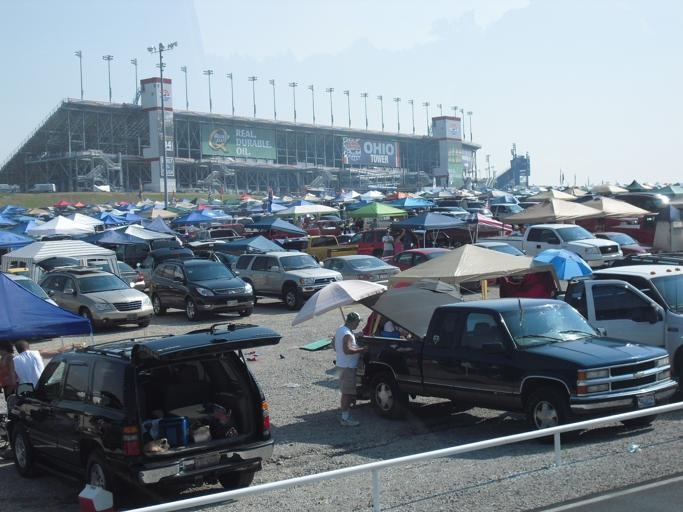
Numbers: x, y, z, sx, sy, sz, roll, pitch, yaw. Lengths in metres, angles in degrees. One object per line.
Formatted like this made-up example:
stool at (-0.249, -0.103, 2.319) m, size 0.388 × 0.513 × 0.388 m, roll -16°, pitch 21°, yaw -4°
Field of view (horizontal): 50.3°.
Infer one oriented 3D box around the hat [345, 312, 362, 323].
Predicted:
hat at (0.178, 1.034, 12.311) m, size 0.306 × 0.208 × 0.241 m, roll 7°, pitch 0°, yaw -40°

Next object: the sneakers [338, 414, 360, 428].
sneakers at (0.119, 2.746, 12.156) m, size 0.401 × 0.117 × 0.145 m, roll 2°, pitch 4°, yaw 10°

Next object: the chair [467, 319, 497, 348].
chair at (2.143, 1.205, 11.151) m, size 0.542 × 0.351 × 0.476 m, roll -4°, pitch -9°, yaw 30°
